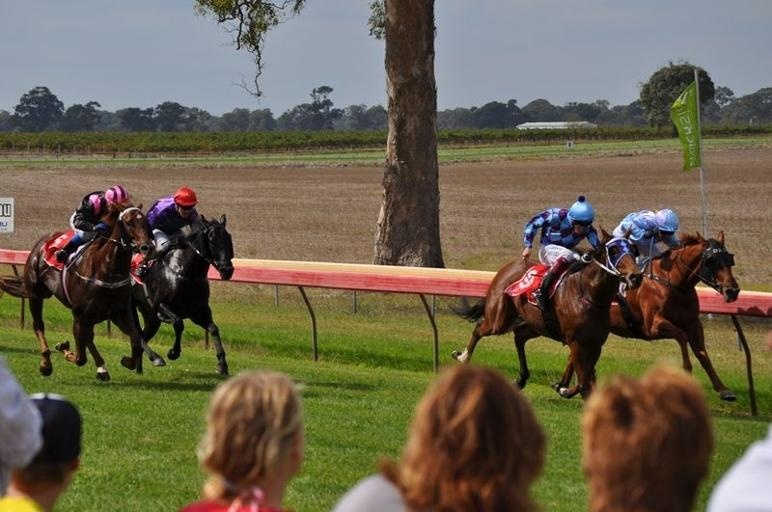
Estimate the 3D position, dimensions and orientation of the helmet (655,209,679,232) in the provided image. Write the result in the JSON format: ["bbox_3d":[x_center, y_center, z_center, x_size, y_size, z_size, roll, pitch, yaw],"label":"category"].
[{"bbox_3d":[3.617,-0.440,14.911,0.261,0.287,0.248,0,5,11],"label":"helmet"}]

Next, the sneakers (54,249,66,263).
[{"bbox_3d":[-4.152,-0.003,14.911,0.101,0.174,0.168,6,5,-11],"label":"sneakers"}]

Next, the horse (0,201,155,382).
[{"bbox_3d":[-3.800,0.442,14.750,2.209,2.154,1.044,4,6,40],"label":"horse"}]

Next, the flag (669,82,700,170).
[{"bbox_3d":[4.640,-1.993,17.942,0.425,1.345,0.530,1,5,14],"label":"flag"}]

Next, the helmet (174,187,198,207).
[{"bbox_3d":[-2.638,-0.736,15.313,0.307,0.229,0.436,-10,23,-18],"label":"helmet"}]

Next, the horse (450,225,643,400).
[{"bbox_3d":[2.019,0.735,14.654,0.821,2.188,3.582,3,4,-30],"label":"horse"}]

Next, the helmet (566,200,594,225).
[{"bbox_3d":[2.443,-0.530,14.494,0.257,0.317,0.304,2,-2,-6],"label":"helmet"}]
